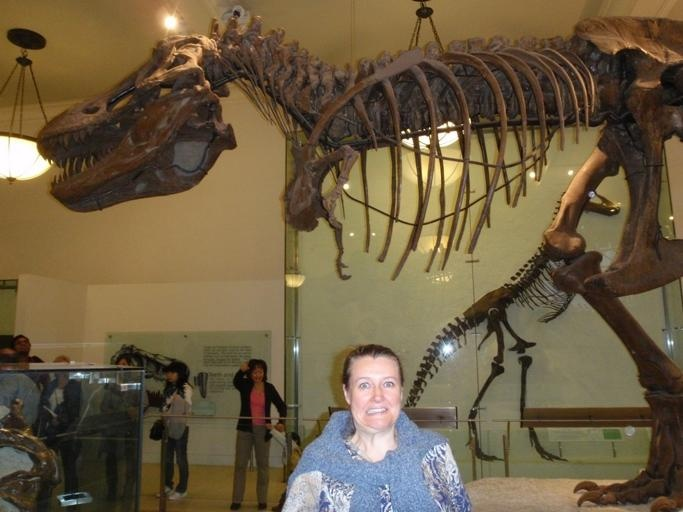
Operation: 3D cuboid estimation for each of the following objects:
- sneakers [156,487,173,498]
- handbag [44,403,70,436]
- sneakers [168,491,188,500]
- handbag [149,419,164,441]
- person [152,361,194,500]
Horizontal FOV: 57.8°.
[{"bbox_3d":[-1.291,1.735,4.556,0.140,0.063,0.048,5,-11,-3],"label":"sneakers"},{"bbox_3d":[-1.399,0.806,3.046,0.092,0.146,0.146,0,3,-18],"label":"handbag"},{"bbox_3d":[-1.212,1.766,4.581,0.130,0.058,0.046,12,-10,-25],"label":"sneakers"},{"bbox_3d":[-1.356,1.313,4.655,0.110,0.162,0.159,2,-15,-2],"label":"handbag"},{"bbox_3d":[-1.457,1.450,5.425,0.258,1.164,1.826,2,-17,-13],"label":"person"}]
